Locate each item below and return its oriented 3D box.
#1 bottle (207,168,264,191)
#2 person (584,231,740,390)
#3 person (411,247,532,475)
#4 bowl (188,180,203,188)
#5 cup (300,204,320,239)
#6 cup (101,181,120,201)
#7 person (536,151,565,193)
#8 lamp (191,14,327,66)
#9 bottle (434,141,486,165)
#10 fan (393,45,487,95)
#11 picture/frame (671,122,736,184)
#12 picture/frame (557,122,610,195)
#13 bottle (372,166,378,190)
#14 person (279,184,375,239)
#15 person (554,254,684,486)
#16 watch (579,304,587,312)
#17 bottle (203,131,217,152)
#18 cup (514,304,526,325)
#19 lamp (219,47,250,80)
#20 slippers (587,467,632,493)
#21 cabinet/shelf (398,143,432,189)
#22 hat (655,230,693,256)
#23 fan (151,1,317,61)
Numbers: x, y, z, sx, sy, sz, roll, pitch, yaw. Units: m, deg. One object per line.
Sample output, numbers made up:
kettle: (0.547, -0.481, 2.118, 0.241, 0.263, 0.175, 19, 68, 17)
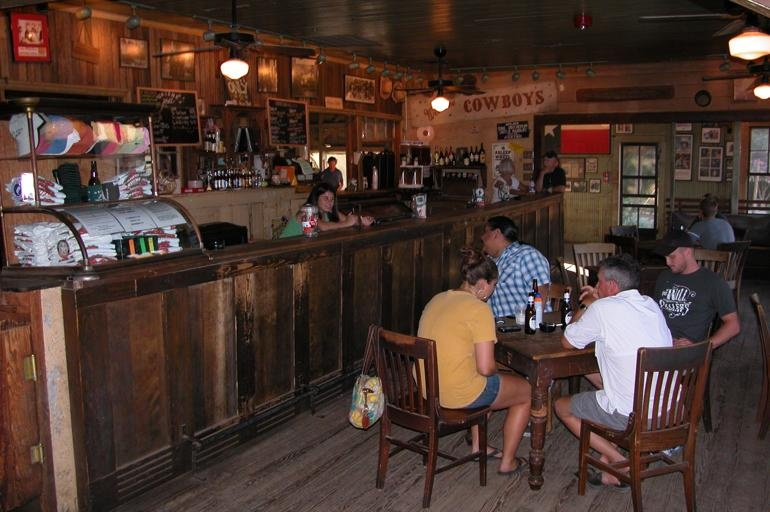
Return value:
bottle: (-2.441, -1.252, 9.256, 0.475, 0.336, 1.052, 4, 14, 32)
person: (2.520, 0.531, 5.122, 1.088, 1.388, 0.940, -16, 16, -33)
person: (0.690, 0.906, 4.521, 0.918, 1.880, 0.446, -7, 12, -18)
bowl: (-2.870, -1.113, 8.724, 0.136, 0.084, 0.136, 0, 15, 0)
cup: (-0.771, -0.377, 5.875, 0.161, 0.291, 0.350, -5, 12, -9)
cup: (-2.231, -0.528, 4.679, 0.083, 0.152, 0.160, -10, -9, 25)
person: (3.139, -1.628, 11.017, 0.519, 0.775, 0.454, 0, 12, 14)
lamp: (-1.786, -3.019, 7.936, 1.226, 0.598, 1.338, 4, 9, 13)
bottle: (1.613, -2.272, 12.991, 1.212, 0.463, 0.438, 5, 14, 36)
fan: (1.006, -3.441, 10.492, 1.485, 0.907, 1.487, -1, 3, -2)
picture/frame: (7.022, -2.320, 12.677, 1.362, 1.434, 0.061, 3, 10, 20)
picture/frame: (4.813, -2.364, 13.968, 1.158, 1.610, 0.246, 5, 15, 35)
bottle: (-0.203, -1.646, 11.975, 0.096, 0.463, 0.374, 1, 12, 19)
person: (-0.710, -0.427, 6.649, 1.116, 0.772, 0.625, 14, 20, 33)
person: (1.683, 0.734, 4.338, 0.814, 1.421, 0.494, 3, 13, 26)
watch: (1.635, 0.427, 4.782, 0.050, 0.037, 0.050, 18, 34, 35)
bottle: (-2.740, -1.809, 9.072, 0.200, 0.298, 0.126, -5, 12, -11)
cup: (1.174, 0.532, 5.084, 0.134, 0.152, 0.138, 0, 0, 0)
lamp: (-1.690, -2.181, 6.432, 0.255, 0.304, 0.537, -7, 12, -16)
slippers: (1.792, 1.824, 4.632, 0.318, 0.087, 0.118, 14, 34, 27)
cabinet/shelf: (0.630, -1.992, 12.589, 0.747, 0.989, 1.091, -2, 12, 4)
hat: (2.579, -0.123, 5.138, 0.301, 0.154, 0.206, -3, 7, -2)
fan: (-2.093, -3.059, 7.723, 1.210, 0.508, 1.095, -1, 5, 0)
